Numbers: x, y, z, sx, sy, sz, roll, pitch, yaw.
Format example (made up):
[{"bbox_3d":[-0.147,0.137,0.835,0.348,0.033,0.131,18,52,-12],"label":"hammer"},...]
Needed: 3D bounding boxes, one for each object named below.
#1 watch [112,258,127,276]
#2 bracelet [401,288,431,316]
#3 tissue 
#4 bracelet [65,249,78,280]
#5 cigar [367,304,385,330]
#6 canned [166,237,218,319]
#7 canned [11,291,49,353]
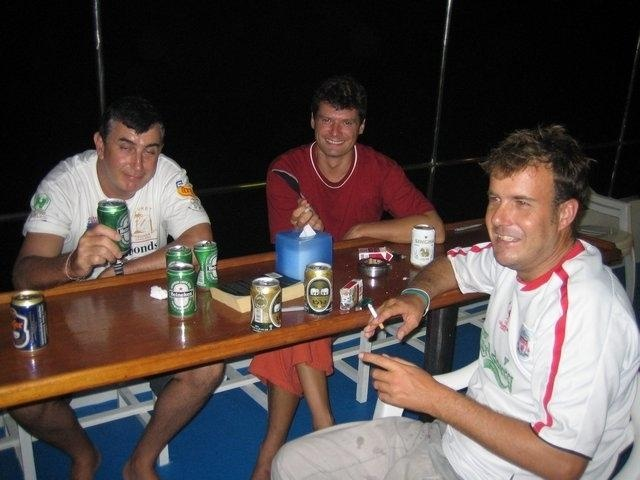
[{"bbox_3d":[-0.830,0.119,1.880,0.065,0.086,0.086,3,-1,-23],"label":"watch"},{"bbox_3d":[0.343,0.228,1.715,0.109,0.054,0.090,25,34,21],"label":"bracelet"},{"bbox_3d":[-0.054,0.050,1.832,0.214,0.197,0.216,16,22,42],"label":"tissue "},{"bbox_3d":[-0.944,0.111,1.725,0.023,0.082,0.088,2,-10,-7],"label":"bracelet"},{"bbox_3d":[0.191,0.265,1.568,0.031,0.021,0.157,-26,18,-7],"label":"cigar"},{"bbox_3d":[-0.441,0.145,1.576,0.092,0.140,0.226,5,18,9],"label":"canned"},{"bbox_3d":[-0.838,0.234,1.309,0.083,0.154,0.109,-9,14,-37],"label":"canned"}]
